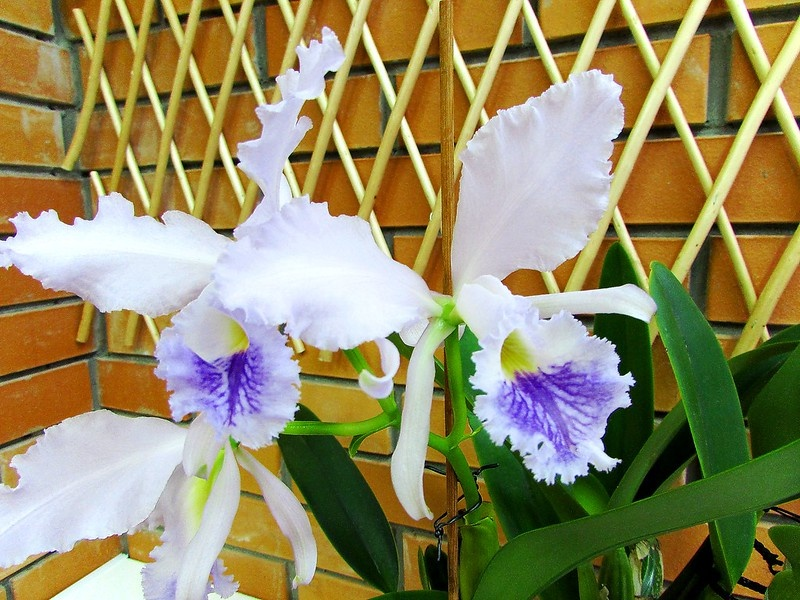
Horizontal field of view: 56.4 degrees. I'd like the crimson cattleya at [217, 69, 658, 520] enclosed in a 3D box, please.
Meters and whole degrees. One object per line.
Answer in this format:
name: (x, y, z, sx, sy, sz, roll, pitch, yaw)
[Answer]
crimson cattleya: (0.101, -0.004, 0.889, 0.592, 0.355, 0.335, -33, -66, -36)
